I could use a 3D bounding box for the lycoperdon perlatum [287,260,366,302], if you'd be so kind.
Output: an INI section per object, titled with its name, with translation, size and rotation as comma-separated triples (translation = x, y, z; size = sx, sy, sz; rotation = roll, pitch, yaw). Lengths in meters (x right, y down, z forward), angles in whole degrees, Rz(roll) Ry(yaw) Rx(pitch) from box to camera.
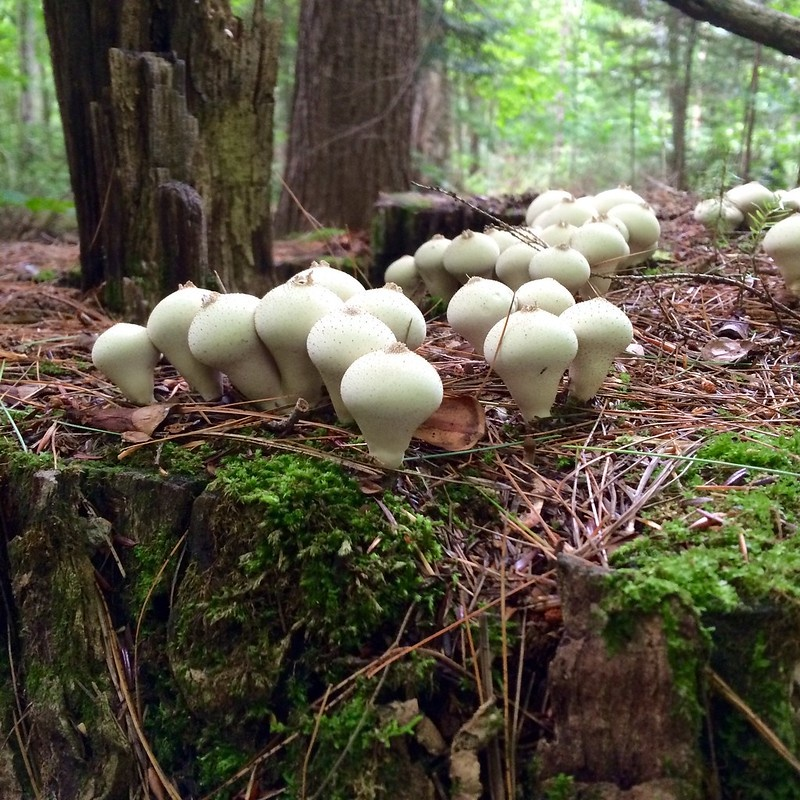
[lycoperdon perlatum]
translation = -0.274, -0.450, 3.119
size = 0.200, 0.112, 0.204
rotation = 27, 11, 18
